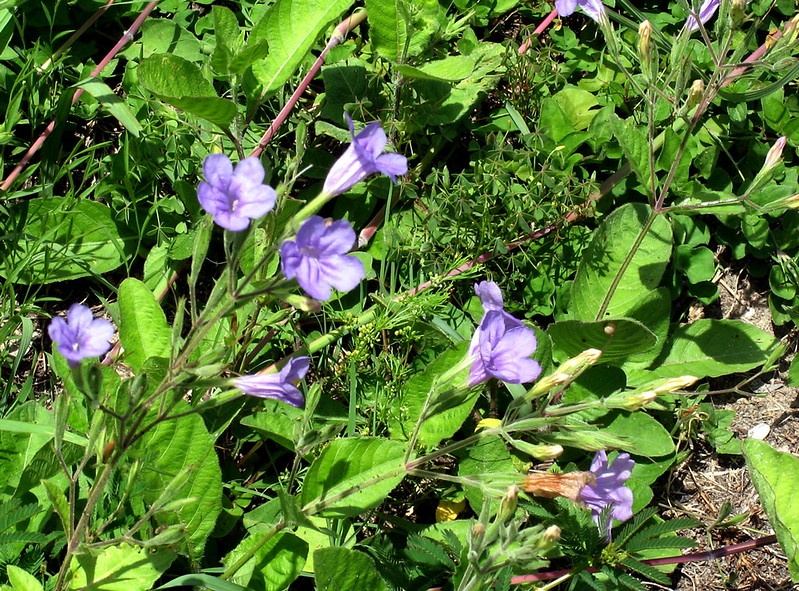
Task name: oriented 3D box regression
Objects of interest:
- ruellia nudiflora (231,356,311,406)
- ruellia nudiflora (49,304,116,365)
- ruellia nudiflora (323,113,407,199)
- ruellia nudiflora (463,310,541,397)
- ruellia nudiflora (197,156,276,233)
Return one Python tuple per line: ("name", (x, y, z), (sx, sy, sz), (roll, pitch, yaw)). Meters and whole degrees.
("ruellia nudiflora", (-0.418, 0.292, 2.406), (0.232, 0.137, 0.175), (-1, 56, 16))
("ruellia nudiflora", (-0.976, 0.121, 2.241), (0.175, 0.125, 0.195), (-27, 98, -20))
("ruellia nudiflora", (-0.118, -0.503, 2.517), (0.301, 0.293, 0.301), (1, 59, -15))
("ruellia nudiflora", (0.399, 0.201, 2.745), (0.240, 0.323, 0.278), (10, 57, -10))
("ruellia nudiflora", (-0.526, -0.280, 2.308), (0.223, 0.313, 0.266), (-5, 61, -18))
